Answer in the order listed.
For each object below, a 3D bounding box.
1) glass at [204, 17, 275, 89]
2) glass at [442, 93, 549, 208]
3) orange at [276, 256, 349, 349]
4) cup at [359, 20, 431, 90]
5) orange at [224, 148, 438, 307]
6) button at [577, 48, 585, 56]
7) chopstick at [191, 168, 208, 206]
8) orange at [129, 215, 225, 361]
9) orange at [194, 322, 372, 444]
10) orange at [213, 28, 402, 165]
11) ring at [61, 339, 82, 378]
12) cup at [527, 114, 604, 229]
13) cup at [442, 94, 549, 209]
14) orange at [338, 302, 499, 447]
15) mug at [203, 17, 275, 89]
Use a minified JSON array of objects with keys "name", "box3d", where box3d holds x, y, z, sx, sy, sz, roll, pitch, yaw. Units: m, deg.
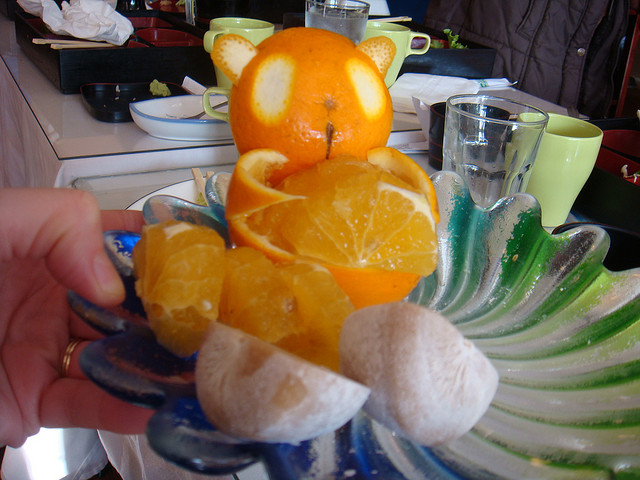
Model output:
[{"name":"glass","box3d":[-0.184,-0.396,1.081,0.133,0.143,0.170,29,35,25]},{"name":"glass","box3d":[0.257,-0.104,0.771,0.143,0.186,0.159,13,13,24]},{"name":"orange","box3d":[-0.008,0.055,0.434,0.048,0.020,0.072,-37,91,-15]},{"name":"cup","box3d":[0.175,-0.413,1.143,0.155,0.123,0.104,23,34,30]},{"name":"orange","box3d":[0.007,-0.012,0.521,0.167,0.112,0.163,-2,46,-11]},{"name":"button","box3d":[1.015,-0.730,1.965,0.028,0.025,0.010,2,35,-4]},{"name":"chopstick","box3d":[-0.161,-0.070,0.677,0.006,0.018,0.078,14,44,-45]},{"name":"orange","box3d":[-0.124,0.042,0.457,0.081,0.081,0.111,-9,40,-18]},{"name":"orange","box3d":[-0.030,0.083,0.375,0.093,0.063,0.098,16,-8,-25]},{"name":"orange","box3d":[-0.013,-0.166,0.494,0.166,0.150,0.148,5,28,3]},{"name":"ring","box3d":[-0.313,0.147,0.631,0.006,0.031,0.029,18,38,-2]},{"name":"cup","box3d":[0.319,-0.089,0.661,0.080,0.137,0.090,-3,36,-2]},{"name":"cup","box3d":[0.260,-0.123,0.767,0.143,0.179,0.156,2,23,-1]},{"name":"orange","box3d":[0.075,0.097,0.387,0.109,0.114,0.076,22,55,18]},{"name":"mug","box3d":[-0.184,-0.382,1.063,0.135,0.123,0.115,-3,23,-30]}]
